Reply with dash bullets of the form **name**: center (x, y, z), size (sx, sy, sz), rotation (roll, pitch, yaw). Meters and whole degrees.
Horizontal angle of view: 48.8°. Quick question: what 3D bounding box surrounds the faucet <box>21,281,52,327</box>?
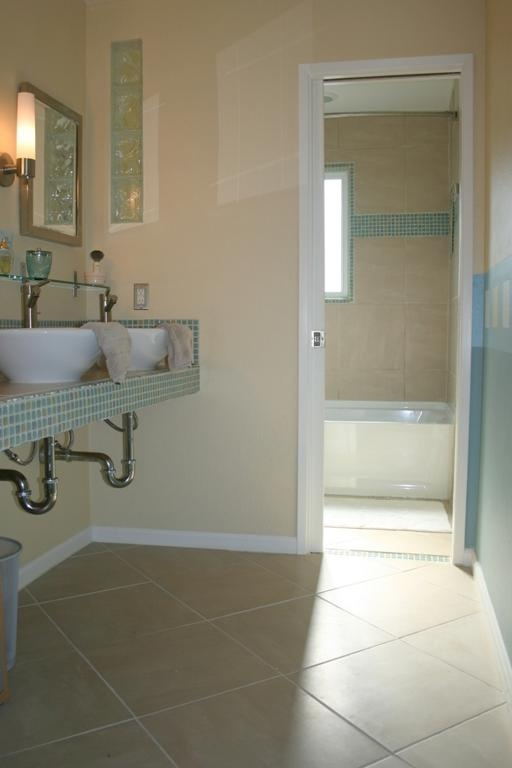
- **faucet**: center (-0.655, -0.240, 1.676), size (0.069, 0.139, 0.205), rotation (0, 0, -16)

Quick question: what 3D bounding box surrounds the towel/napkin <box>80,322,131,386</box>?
- **towel/napkin**: center (-0.389, -0.068, 1.464), size (0.045, 0.162, 0.141), rotation (-5, 7, 12)

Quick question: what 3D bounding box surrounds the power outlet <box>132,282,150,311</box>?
- **power outlet**: center (-0.500, -0.379, 2.461), size (0.070, 0.094, 0.014), rotation (0, 0, 15)

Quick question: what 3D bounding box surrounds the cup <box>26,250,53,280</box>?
- **cup**: center (-0.699, -0.384, 1.825), size (0.079, 0.118, 0.091), rotation (2, 3, -3)

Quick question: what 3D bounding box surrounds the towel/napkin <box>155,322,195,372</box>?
- **towel/napkin**: center (-0.299, -0.144, 2.088), size (0.061, 0.193, 0.157), rotation (4, 10, 34)

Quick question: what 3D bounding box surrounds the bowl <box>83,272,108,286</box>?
- **bowl**: center (-0.660, -0.421, 2.359), size (0.059, 0.072, 0.063), rotation (2, 2, 0)
